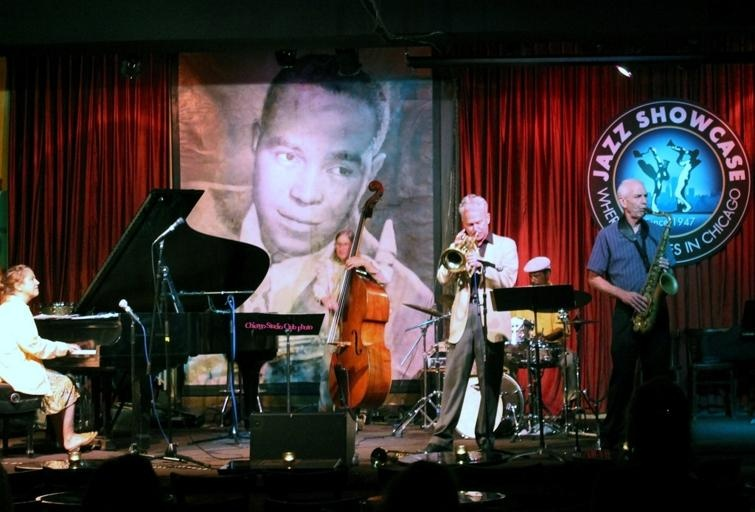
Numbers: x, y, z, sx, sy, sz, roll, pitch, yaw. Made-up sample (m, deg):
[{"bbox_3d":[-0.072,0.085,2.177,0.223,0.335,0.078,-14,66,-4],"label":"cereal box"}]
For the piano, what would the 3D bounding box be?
[{"bbox_3d":[-2.154,0.106,9.773,1.572,1.798,2.275,-1,-5,0],"label":"piano"}]

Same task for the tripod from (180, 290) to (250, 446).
[{"bbox_3d":[-1.772,1.217,9.652,0.537,1.654,0.654,2,0,-13],"label":"tripod"}]

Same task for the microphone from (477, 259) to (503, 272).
[{"bbox_3d":[1.038,0.082,8.286,0.139,0.038,0.137,19,-3,-26],"label":"microphone"}]

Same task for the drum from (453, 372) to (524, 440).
[{"bbox_3d":[1.222,1.670,9.934,0.683,0.722,0.697,5,3,-18],"label":"drum"}]

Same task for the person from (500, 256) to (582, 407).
[{"bbox_3d":[1.919,0.730,10.143,0.779,1.993,0.678,0,0,1],"label":"person"}]

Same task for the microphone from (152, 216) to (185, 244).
[{"bbox_3d":[-2.146,-0.255,9.100,0.308,0.259,0.550,2,-5,-16],"label":"microphone"}]

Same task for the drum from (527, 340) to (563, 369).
[{"bbox_3d":[1.818,1.080,9.608,0.354,0.179,0.490,1,-1,16],"label":"drum"}]
